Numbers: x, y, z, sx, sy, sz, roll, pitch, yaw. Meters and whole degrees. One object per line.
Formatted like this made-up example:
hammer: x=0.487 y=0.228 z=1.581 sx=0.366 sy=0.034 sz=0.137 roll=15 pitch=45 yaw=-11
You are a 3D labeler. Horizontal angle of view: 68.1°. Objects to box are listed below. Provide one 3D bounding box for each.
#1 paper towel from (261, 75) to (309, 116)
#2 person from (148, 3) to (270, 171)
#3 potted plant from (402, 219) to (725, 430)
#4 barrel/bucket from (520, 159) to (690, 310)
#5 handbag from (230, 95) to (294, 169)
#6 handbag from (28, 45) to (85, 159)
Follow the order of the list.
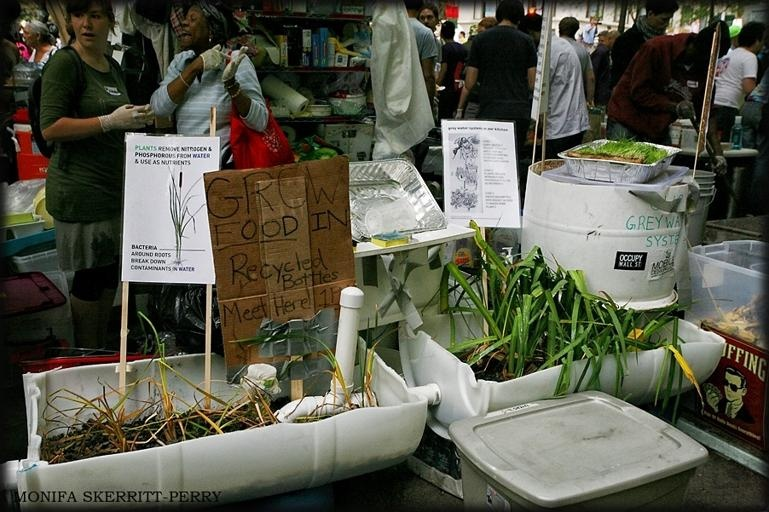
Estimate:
paper towel: x=-0.953 y=-1.563 z=5.544 sx=0.437 sy=0.384 sz=0.356 roll=-13 pitch=24 yaw=-18
person: x=-1.089 y=-1.057 z=3.533 sx=0.628 sy=1.020 sz=0.498 roll=10 pitch=17 yaw=42
potted plant: x=0.933 y=0.436 z=3.193 sx=1.428 sy=0.764 sz=1.203 roll=-7 pitch=11 yaw=-9
barrel/bucket: x=1.448 y=-0.192 z=3.691 sx=0.856 sy=0.830 sz=0.849 roll=1 pitch=12 yaw=0
handbag: x=-0.733 y=-0.671 z=3.622 sx=0.497 sy=0.529 sz=0.363 roll=-5 pitch=34 yaw=-5
handbag: x=-2.033 y=-0.950 z=3.536 sx=0.275 sy=0.676 sz=0.464 roll=-12 pitch=16 yaw=-38
